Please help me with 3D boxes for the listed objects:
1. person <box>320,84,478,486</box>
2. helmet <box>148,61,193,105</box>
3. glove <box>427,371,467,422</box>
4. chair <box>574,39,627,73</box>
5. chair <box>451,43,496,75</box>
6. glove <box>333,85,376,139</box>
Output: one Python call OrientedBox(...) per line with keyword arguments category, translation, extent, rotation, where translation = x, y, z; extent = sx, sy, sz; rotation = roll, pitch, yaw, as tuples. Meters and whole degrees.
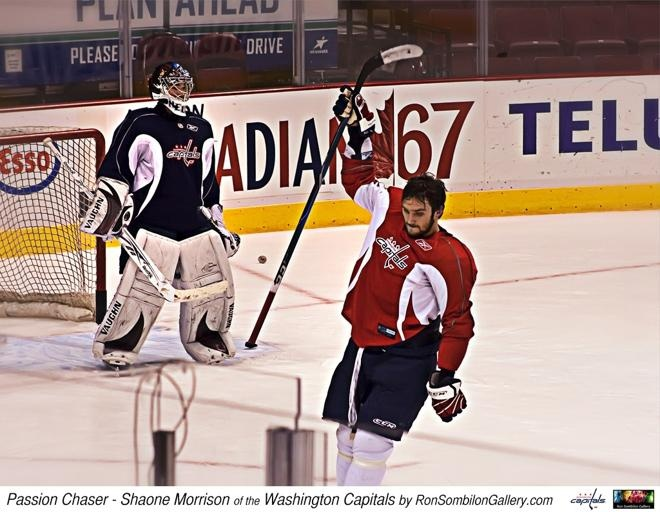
OrientedBox(category="person", translation=(0.274, 0.328, 3.264), extent=(0.552, 1.331, 0.758), rotation=(2, 15, 6))
OrientedBox(category="helmet", translation=(-0.942, -1.022, 4.805), extent=(0.266, 0.209, 0.195), rotation=(1, 16, 6))
OrientedBox(category="glove", translation=(0.441, 0.511, 3.038), extent=(0.166, 0.153, 0.101), rotation=(-26, 13, -39))
OrientedBox(category="chair", translation=(3.461, -2.579, 10.530), extent=(0.674, 0.407, 1.665), rotation=(5, 14, 18))
OrientedBox(category="chair", translation=(1.713, -2.402, 9.880), extent=(0.510, 0.474, 2.104), rotation=(3, 14, 9))
OrientedBox(category="glove", translation=(0.133, -0.651, 3.722), extent=(0.110, 0.259, 0.160), rotation=(1, -38, -50))
